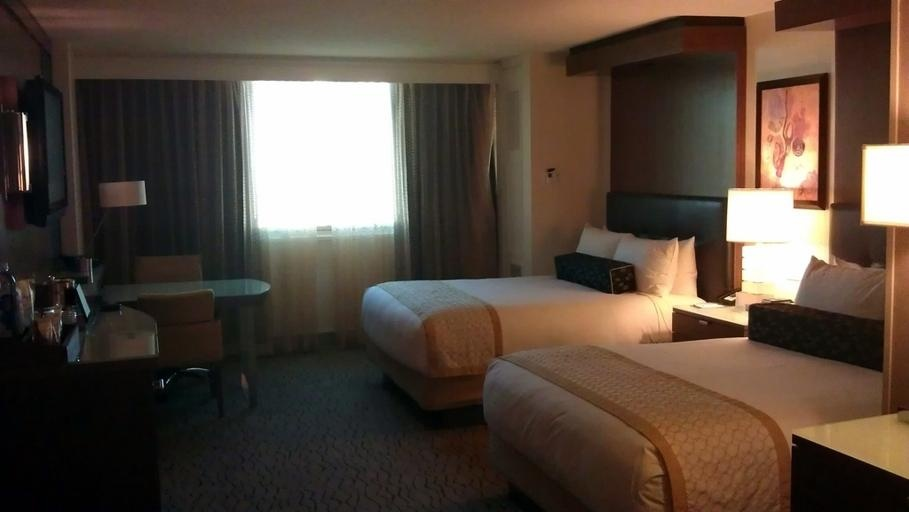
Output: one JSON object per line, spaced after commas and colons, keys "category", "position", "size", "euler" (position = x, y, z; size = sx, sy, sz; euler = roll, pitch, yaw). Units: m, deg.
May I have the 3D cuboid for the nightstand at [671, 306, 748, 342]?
{"category": "nightstand", "position": [2.271, 0.635, 5.894], "size": [0.381, 0.250, 0.508], "euler": [0, 2, -12]}

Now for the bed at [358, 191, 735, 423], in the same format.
{"category": "bed", "position": [0.803, 0.409, 6.838], "size": [3.046, 1.770, 2.254], "euler": [-2, 4, -17]}

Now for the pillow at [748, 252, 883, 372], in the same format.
{"category": "pillow", "position": [2.867, 0.465, 5.134], "size": [0.720, 0.818, 1.332], "euler": [0, 2, -14]}

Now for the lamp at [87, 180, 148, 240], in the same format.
{"category": "lamp", "position": [-3.710, -0.572, 7.215], "size": [0.845, 0.777, 0.631], "euler": [0, 6, -27]}

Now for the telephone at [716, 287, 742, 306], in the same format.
{"category": "telephone", "position": [2.659, 0.404, 6.308], "size": [0.183, 0.071, 0.188], "euler": [-12, 14, 3]}

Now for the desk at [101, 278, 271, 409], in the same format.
{"category": "desk", "position": [-2.700, 1.044, 6.813], "size": [2.155, 1.281, 1.142], "euler": [-1, 4, -3]}

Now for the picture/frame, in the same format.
{"category": "picture/frame", "position": [3.046, -1.028, 5.903], "size": [0.216, 1.153, 0.781], "euler": [-5, 10, -13]}
